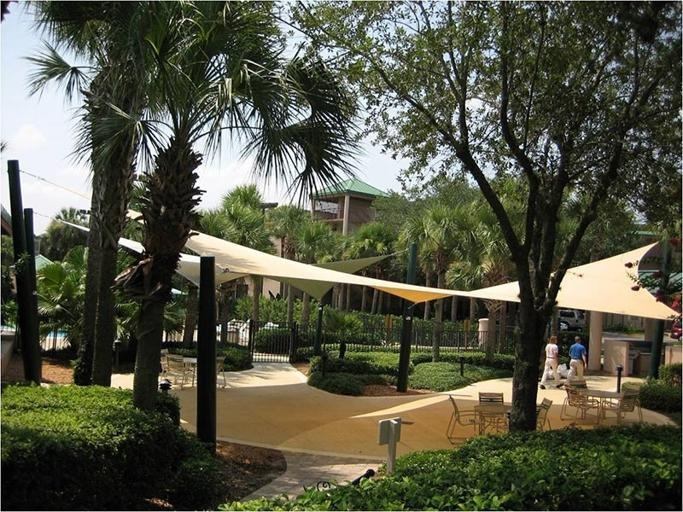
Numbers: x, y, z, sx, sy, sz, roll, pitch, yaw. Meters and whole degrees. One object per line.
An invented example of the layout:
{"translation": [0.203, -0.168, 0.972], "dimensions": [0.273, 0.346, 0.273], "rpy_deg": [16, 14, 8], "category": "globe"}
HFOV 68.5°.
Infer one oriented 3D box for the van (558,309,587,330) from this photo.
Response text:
{"translation": [18.543, 5.074, 40.386], "dimensions": [1.814, 1.687, 3.093], "rpy_deg": [-11, -12, 43], "category": "van"}
